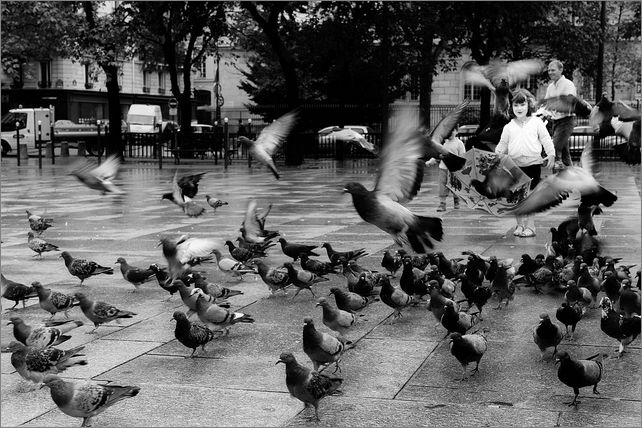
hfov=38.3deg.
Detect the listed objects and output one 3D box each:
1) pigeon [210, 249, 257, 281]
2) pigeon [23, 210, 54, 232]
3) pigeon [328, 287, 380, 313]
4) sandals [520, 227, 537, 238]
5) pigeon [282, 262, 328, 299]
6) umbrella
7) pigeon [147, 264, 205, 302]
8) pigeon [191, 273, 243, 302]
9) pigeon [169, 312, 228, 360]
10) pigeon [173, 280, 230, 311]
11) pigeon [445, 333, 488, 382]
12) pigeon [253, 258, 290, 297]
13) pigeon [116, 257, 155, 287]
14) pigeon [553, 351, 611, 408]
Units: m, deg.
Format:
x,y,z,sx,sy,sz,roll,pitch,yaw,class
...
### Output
x,y,z,sx,sy,sz,roll,pitch,yaw,class
-1.281,0.756,13.844,0.805,0.404,0.280,0,5,30,pigeon
-5.267,0.174,17.379,0.383,0.397,0.716,-5,8,-19,pigeon
0.397,1.115,11.982,0.729,0.351,0.244,-10,6,-31,pigeon
3.734,0.318,16.657,0.230,0.105,0.486,-3,-2,17,sandals
-0.225,0.906,13.277,0.849,0.456,0.263,-1,6,-40,pigeon
3.307,-0.564,17.643,1.048,1.250,1.441,-35,25,-27,umbrella
-2.140,0.912,13.225,0.286,0.449,0.828,5,7,40,pigeon
-1.418,1.018,12.542,0.843,0.414,0.261,0,0,-36,pigeon
-1.546,1.421,11.301,0.458,0.556,0.370,-3,8,-6,pigeon
-1.499,1.103,12.007,0.852,0.404,0.265,5,14,21,pigeon
1.722,1.591,10.683,0.306,0.523,0.490,5,11,41,pigeon
-0.615,0.900,13.270,0.875,0.438,0.281,5,-1,-30,pigeon
-2.635,0.865,13.486,0.766,0.382,0.241,2,9,21,pigeon
2.875,1.751,10.141,0.561,0.564,0.301,-8,10,-38,pigeon
